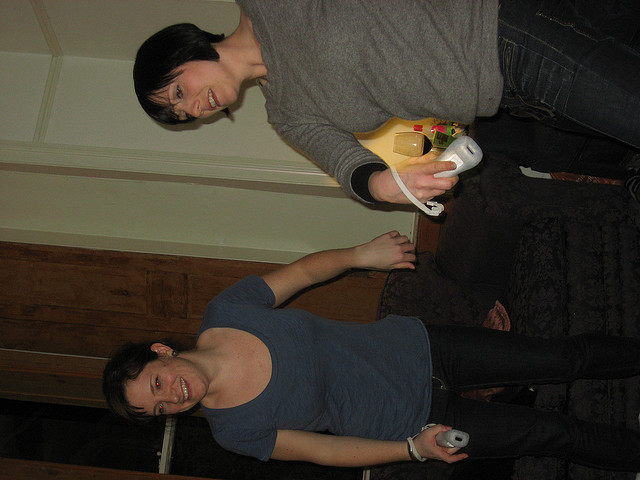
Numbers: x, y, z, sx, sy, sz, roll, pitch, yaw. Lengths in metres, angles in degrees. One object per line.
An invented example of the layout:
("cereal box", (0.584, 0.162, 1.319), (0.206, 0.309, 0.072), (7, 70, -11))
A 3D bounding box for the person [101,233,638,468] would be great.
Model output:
("person", (0.087, 0.751, 3.793), (4.310, 1.095, 1.494), (-6, -16, -6))

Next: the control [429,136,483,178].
("control", (0.446, -0.251, 1.681), (0.064, 0.094, 0.170), (-20, -17, -50))

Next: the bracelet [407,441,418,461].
("bracelet", (0.335, 0.781, 1.940), (0.025, 0.053, 0.050), (3, -13, -7))

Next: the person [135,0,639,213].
("person", (0.271, -0.521, 1.984), (1.643, 0.738, 0.925), (7, 14, 20))

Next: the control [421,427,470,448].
("control", (0.469, 0.701, 1.860), (0.102, 0.063, 0.045), (-6, 10, 23))

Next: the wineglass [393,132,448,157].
("wineglass", (0.522, -0.466, 2.679), (0.307, 0.126, 0.135), (5, -9, 3))
